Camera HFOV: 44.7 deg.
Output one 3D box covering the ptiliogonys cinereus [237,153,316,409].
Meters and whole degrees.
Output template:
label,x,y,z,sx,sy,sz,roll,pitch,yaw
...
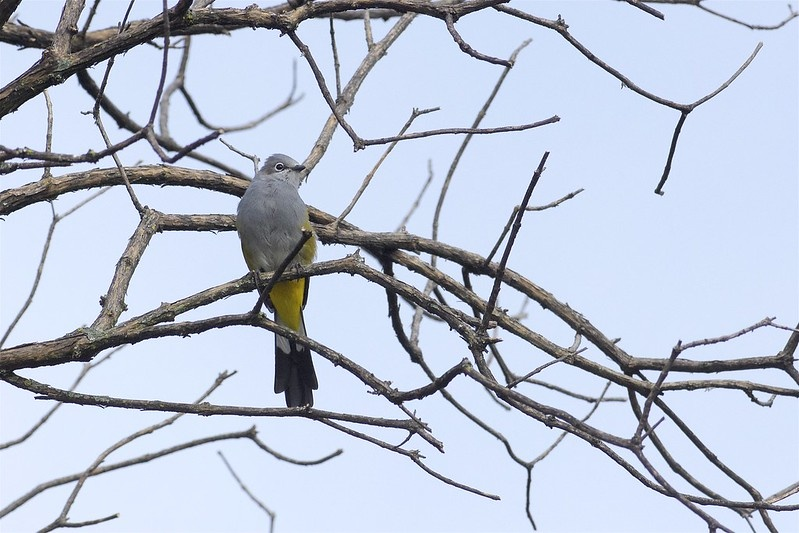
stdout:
label,x,y,z,sx,sy,sz,roll,pitch,yaw
ptiliogonys cinereus,-1.025,0.008,8.342,0.683,0.697,2.272,-6,-82,-4
